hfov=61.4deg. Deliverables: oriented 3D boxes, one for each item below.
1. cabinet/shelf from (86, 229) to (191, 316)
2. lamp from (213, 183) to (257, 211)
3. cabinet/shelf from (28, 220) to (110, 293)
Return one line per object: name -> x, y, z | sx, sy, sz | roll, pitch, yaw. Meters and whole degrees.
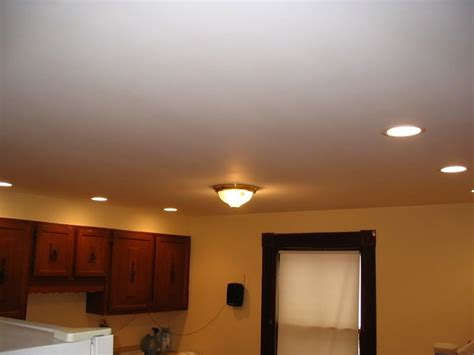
cabinet/shelf -> -0.897, 1.179, 4.979 | 1.367, 0.942, 0.491 | -9, -16, 32
lamp -> -0.013, 0.155, 3.395 | 0.427, 0.160, 0.398 | -6, 12, -41
cabinet/shelf -> -1.684, 0.852, 4.213 | 0.815, 0.635, 0.259 | 2, -8, -1
